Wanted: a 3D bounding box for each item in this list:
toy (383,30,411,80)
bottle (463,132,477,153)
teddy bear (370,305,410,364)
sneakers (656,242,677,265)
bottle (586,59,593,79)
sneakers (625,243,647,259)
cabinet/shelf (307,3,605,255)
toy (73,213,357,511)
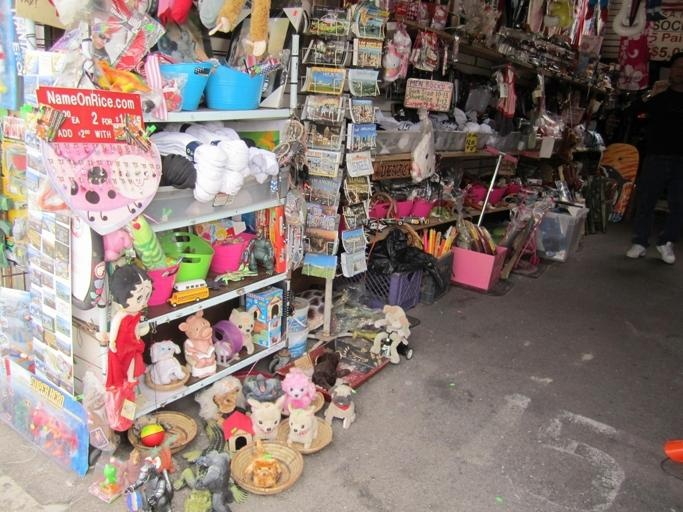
[{"bbox_3d":[0.454,-1.698,4.036,0.244,0.426,0.162,-15,26,-42],"label":"toy"},{"bbox_3d":[1.357,-1.213,4.992,0.031,0.234,0.230,16,12,28],"label":"bottle"},{"bbox_3d":[0.362,0.569,3.335,0.234,0.363,0.225,16,30,26],"label":"teddy bear"},{"bbox_3d":[4.042,-0.024,5.874,0.104,0.132,0.291,-7,41,-2],"label":"sneakers"},{"bbox_3d":[3.736,-2.816,7.074,0.068,0.303,0.168,9,-2,34],"label":"bottle"},{"bbox_3d":[3.726,-0.055,5.983,0.329,0.154,0.126,-10,18,-37],"label":"sneakers"},{"bbox_3d":[1.151,-1.231,4.654,0.869,1.036,2.988,27,30,37],"label":"cabinet/shelf"},{"bbox_3d":[-0.716,0.602,2.532,0.396,1.210,1.250,8,14,34],"label":"toy"}]
